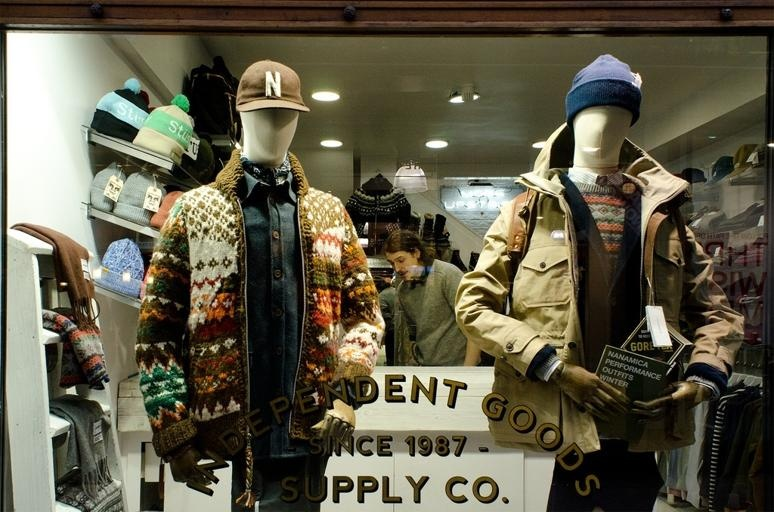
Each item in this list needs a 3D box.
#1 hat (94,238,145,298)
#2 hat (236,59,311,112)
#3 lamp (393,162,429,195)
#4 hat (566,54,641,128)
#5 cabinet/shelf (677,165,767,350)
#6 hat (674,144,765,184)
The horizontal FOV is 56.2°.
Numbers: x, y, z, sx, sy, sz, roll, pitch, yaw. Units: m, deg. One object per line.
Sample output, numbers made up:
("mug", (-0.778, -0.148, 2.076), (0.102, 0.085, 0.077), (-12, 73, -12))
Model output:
("hat", (-0.994, 0.044, 2.720), (0.166, 0.230, 0.074), (7, 9, 16))
("hat", (-0.407, -0.577, 2.541), (0.175, 0.132, 0.226), (0, 5, -19))
("lamp", (0.088, -0.292, 2.838), (0.119, 0.104, 0.120), (0, -10, 1))
("hat", (0.798, -0.616, 2.766), (0.208, 0.242, 0.284), (4, -15, 0))
("cabinet/shelf", (1.284, -0.004, 2.775), (0.411, 0.581, 0.188), (1, -7, 12))
("hat", (1.219, -0.338, 2.744), (0.375, 0.202, 0.128), (6, 3, 20))
